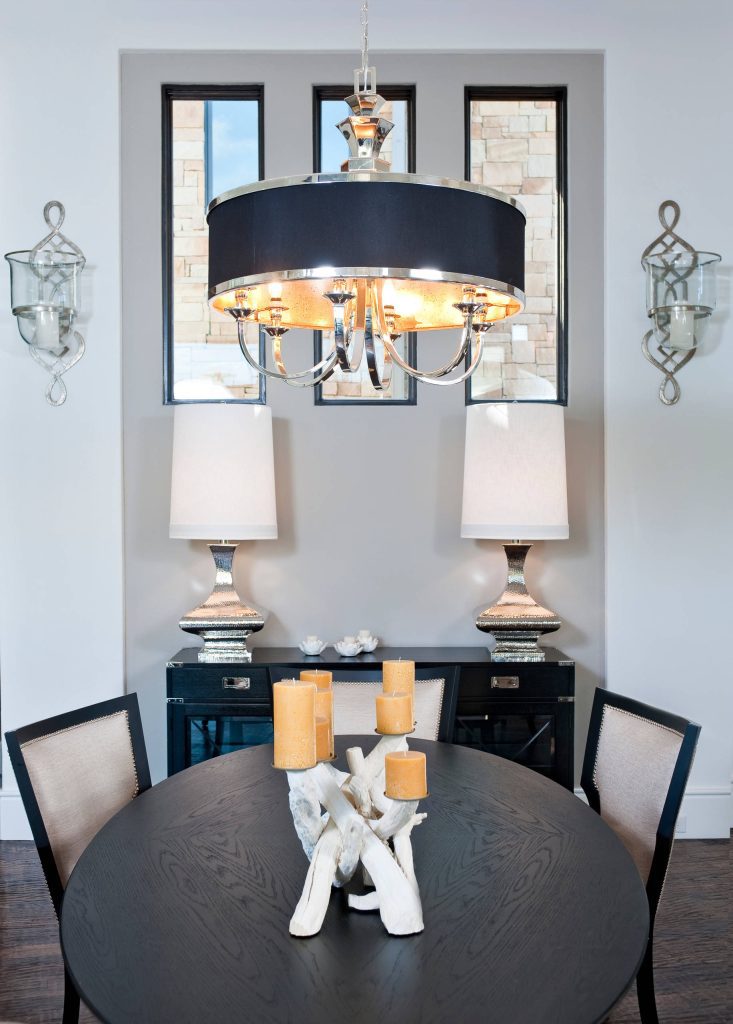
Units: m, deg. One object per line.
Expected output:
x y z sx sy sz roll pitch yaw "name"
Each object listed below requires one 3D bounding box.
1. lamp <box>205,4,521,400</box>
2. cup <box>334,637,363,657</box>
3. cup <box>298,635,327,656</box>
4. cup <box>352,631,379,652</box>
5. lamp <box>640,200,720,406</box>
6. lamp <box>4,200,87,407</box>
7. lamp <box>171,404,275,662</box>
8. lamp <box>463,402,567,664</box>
-0.005 -0.596 2.004 0.599 0.718 0.570 0 3 6 "lamp"
-0.064 0.469 3.610 0.081 0.046 0.058 2 0 28 "cup"
-0.182 0.465 3.649 0.070 0.050 0.072 -2 3 0 "cup"
-0.001 0.458 3.702 0.085 0.079 0.062 7 -9 -33 "cup"
1.110 -0.730 3.719 0.257 0.713 0.176 0 3 13 "lamp"
-1.120 -0.731 3.668 0.264 0.722 0.238 -1 3 -15 "lamp"
-0.483 0.074 3.523 0.340 0.847 0.367 -1 3 -6 "lamp"
0.496 0.070 3.550 0.342 0.850 0.439 0 3 7 "lamp"
